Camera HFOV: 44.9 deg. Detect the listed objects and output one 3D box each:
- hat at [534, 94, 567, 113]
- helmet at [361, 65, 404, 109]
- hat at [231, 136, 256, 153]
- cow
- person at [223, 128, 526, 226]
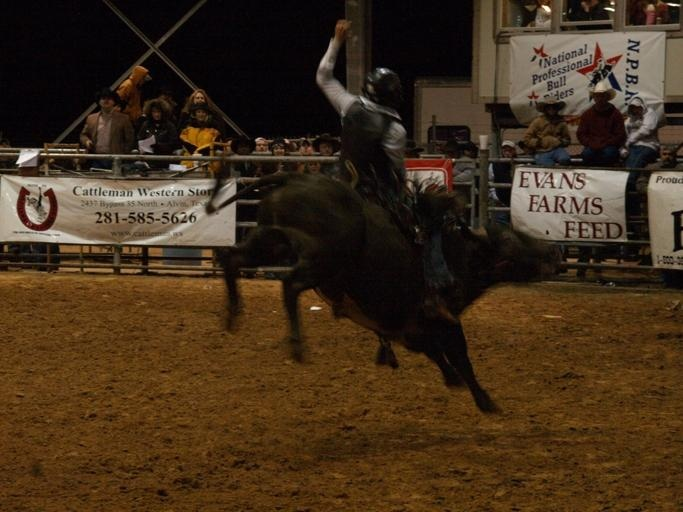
[{"bbox_3d":[3.659,-2.662,14.406,0.616,0.133,0.510,2,-18,5],"label":"hat"},{"bbox_3d":[0.340,-1.471,7.137,0.333,0.337,0.434,28,32,33],"label":"helmet"},{"bbox_3d":[-1.788,-1.995,14.889,0.662,0.260,0.532,1,-3,-1],"label":"hat"},{"bbox_3d":[0.441,0.371,7.089,2.735,2.119,0.633,-3,7,-32],"label":"cow"},{"bbox_3d":[0.448,-0.952,10.071,3.524,0.781,0.906,1,7,7],"label":"person"}]
